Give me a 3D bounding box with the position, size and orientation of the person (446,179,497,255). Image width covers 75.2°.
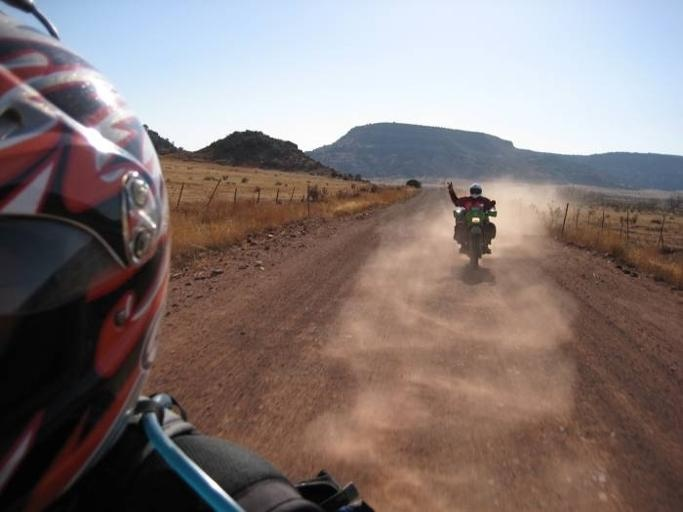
[{"bbox_3d":[2.975,-0.823,10.032,0.930,1.513,2.625,-1,16,14],"label":"person"}]

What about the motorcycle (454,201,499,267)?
[{"bbox_3d":[2.763,-0.379,9.253,0.798,1.278,1.294,4,14,17],"label":"motorcycle"}]

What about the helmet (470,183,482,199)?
[{"bbox_3d":[2.808,-1.337,9.288,0.239,0.428,0.366,0,14,13],"label":"helmet"}]
